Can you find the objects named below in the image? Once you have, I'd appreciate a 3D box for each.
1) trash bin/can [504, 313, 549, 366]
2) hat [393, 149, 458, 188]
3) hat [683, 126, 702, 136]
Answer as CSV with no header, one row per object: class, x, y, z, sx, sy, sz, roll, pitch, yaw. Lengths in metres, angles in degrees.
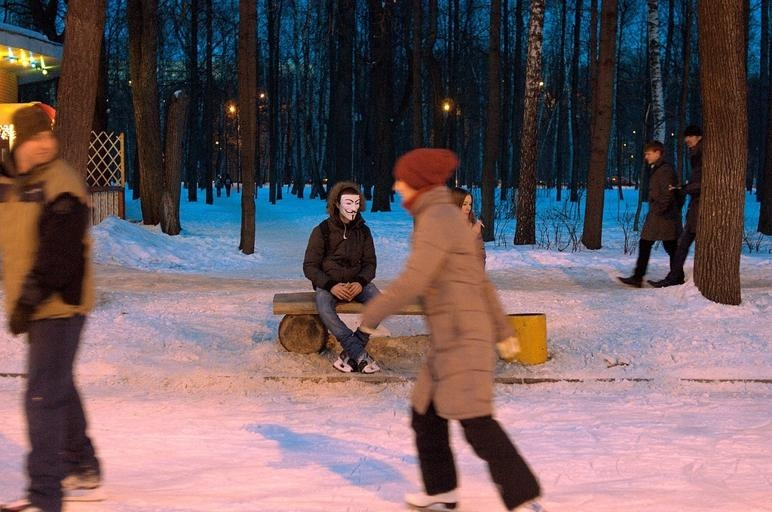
trash bin/can,2.032,1.199,12.078,0.625,0.686,0.620,-1,0,8
hat,0.383,-0.839,7.739,0.500,0.254,0.365,-6,8,4
hat,5.370,-2.172,14.430,0.230,0.138,0.238,4,6,45
